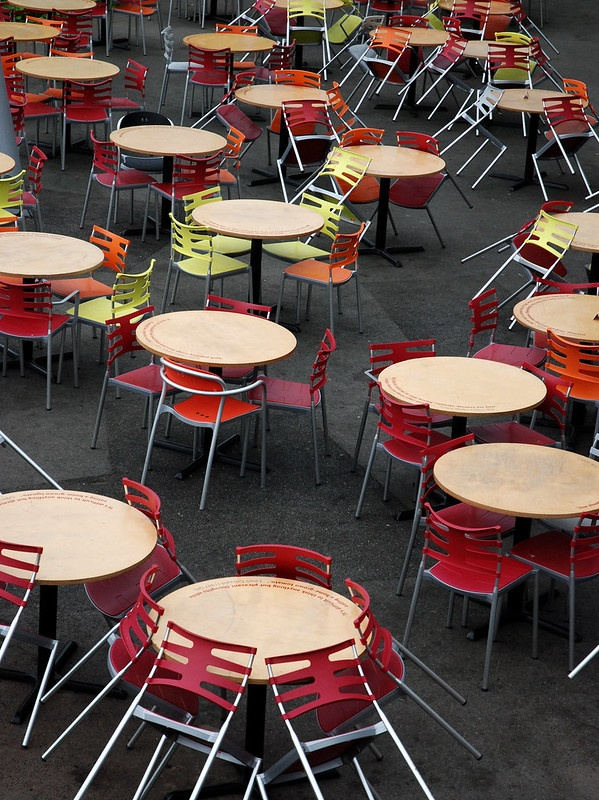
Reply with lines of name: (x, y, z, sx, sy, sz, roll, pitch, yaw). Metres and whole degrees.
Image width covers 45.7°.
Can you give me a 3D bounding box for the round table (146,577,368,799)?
round table: (-0.243, 0.932, 2.468, 0.809, 0.658, 0.727, 6, 20, -3)
